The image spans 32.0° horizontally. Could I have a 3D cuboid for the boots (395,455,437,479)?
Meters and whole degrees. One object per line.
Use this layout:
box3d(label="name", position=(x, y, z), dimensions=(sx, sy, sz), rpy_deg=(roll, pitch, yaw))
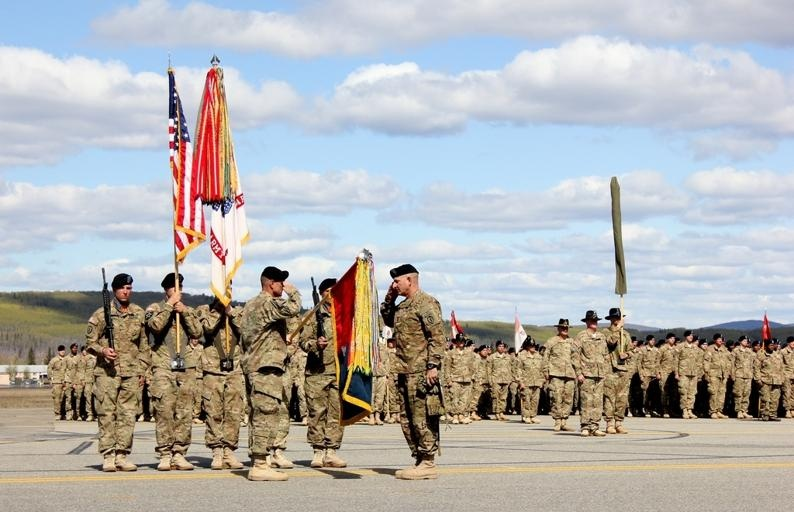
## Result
box3d(label="boots", position=(0.414, 4.384, 28.856), dimensions=(0.707, 0.360, 0.452), rpy_deg=(2, -9, -4))

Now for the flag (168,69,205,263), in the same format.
box3d(label="flag", position=(-4.758, -2.047, 31.097), dimensions=(0.773, 4.431, 0.931), rpy_deg=(0, -5, -9))

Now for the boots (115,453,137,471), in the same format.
box3d(label="boots", position=(-5.793, 4.367, 29.507), dimensions=(0.441, 0.355, 0.313), rpy_deg=(0, -5, -11))

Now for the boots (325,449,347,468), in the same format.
box3d(label="boots", position=(-1.370, 4.345, 30.075), dimensions=(0.487, 0.375, 0.229), rpy_deg=(-1, -5, 9))

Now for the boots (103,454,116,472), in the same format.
box3d(label="boots", position=(-6.111, 4.350, 29.373), dimensions=(0.278, 0.351, 0.210), rpy_deg=(0, -5, -13))

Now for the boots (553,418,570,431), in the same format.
box3d(label="boots", position=(4.670, 4.659, 38.635), dimensions=(0.517, 0.406, 0.433), rpy_deg=(2, -14, -11))

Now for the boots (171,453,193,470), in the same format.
box3d(label="boots", position=(-4.622, 4.371, 29.724), dimensions=(0.472, 0.370, 0.391), rpy_deg=(0, -5, -4))

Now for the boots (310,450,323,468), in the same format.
box3d(label="boots", position=(-1.740, 4.351, 30.036), dimensions=(0.275, 0.393, 0.465), rpy_deg=(-1, -4, -4))

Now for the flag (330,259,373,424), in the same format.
box3d(label="flag", position=(-0.936, 1.785, 29.856), dimensions=(0.972, 3.539, 0.369), rpy_deg=(-1, -5, -2))

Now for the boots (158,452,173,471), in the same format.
box3d(label="boots", position=(-4.975, 4.348, 29.656), dimensions=(0.346, 0.397, 0.314), rpy_deg=(0, -5, -9))

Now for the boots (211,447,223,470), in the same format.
box3d(label="boots", position=(-3.909, 4.352, 30.037), dimensions=(0.247, 0.431, 0.420), rpy_deg=(-1, -5, -3))

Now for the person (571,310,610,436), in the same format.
box3d(label="person", position=(5.091, 3.053, 36.467), dimensions=(0.774, 3.241, 0.888), rpy_deg=(-5, -6, 35))

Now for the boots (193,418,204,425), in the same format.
box3d(label="boots", position=(-6.416, 5.256, 44.454), dimensions=(0.348, 0.174, 0.455), rpy_deg=(0, -7, 21))

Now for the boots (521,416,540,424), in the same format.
box3d(label="boots", position=(4.188, 5.097, 43.347), dimensions=(0.197, 0.204, 0.530), rpy_deg=(3, -10, -16))
